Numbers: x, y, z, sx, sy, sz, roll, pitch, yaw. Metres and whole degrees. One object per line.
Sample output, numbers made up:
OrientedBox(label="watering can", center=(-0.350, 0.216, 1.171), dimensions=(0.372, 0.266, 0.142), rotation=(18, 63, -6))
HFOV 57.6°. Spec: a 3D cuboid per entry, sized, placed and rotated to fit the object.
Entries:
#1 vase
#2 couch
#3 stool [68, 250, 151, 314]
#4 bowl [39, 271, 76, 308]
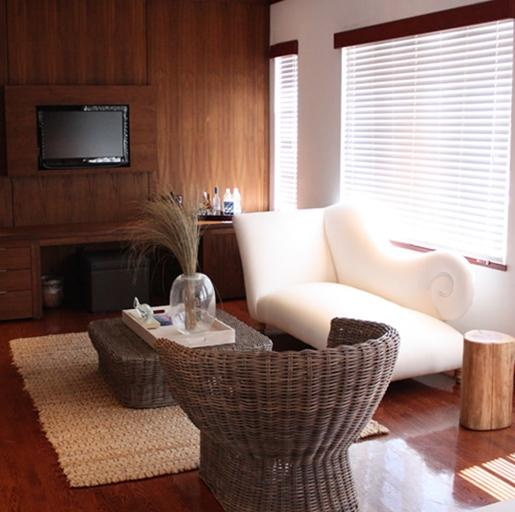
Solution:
OrientedBox(label="vase", center=(-0.368, 0.255, 2.645), dimensions=(0.269, 0.357, 0.267), rotation=(-7, 17, -30))
OrientedBox(label="couch", center=(0.601, 0.115, 3.356), dimensions=(0.952, 1.063, 1.643), rotation=(-5, 11, -28))
OrientedBox(label="stool", center=(-1.463, 0.264, 4.614), dimensions=(0.553, 0.472, 0.534), rotation=(-1, 4, -36))
OrientedBox(label="bowl", center=(-1.987, 0.331, 4.669), dimensions=(0.309, 0.274, 0.296), rotation=(2, 5, 0))
